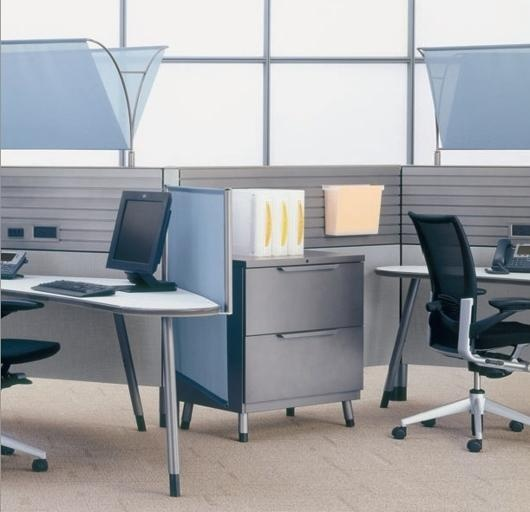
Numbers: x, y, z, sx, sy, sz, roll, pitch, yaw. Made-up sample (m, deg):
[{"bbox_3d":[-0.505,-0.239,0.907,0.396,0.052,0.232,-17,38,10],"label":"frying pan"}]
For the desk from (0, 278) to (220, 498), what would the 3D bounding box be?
[{"bbox_3d":[-0.679,0.520,2.686,0.783,0.799,1.082,-1,3,-26],"label":"desk"}]

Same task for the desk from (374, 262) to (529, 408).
[{"bbox_3d":[0.987,0.402,3.417,0.873,0.543,0.421,2,0,21],"label":"desk"}]

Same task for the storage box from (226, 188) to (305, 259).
[{"bbox_3d":[-0.038,-0.159,3.293,0.392,0.368,0.330,-3,5,-36],"label":"storage box"}]

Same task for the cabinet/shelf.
[{"bbox_3d":[0.172,0.369,3.582,1.063,1.223,0.874,-1,1,-37],"label":"cabinet/shelf"}]
